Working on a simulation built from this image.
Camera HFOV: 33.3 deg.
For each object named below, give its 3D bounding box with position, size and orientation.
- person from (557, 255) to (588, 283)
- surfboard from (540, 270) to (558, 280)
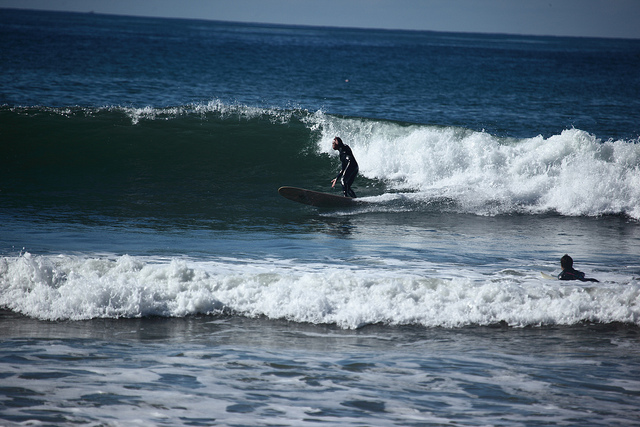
[{"bbox_3d":[7.432,1.578,31.508,0.841,0.745,1.085,3,6,12],"label":"person"},{"bbox_3d":[6.697,1.839,31.439,0.540,0.159,0.220,6,7,42],"label":"surfboard"}]
